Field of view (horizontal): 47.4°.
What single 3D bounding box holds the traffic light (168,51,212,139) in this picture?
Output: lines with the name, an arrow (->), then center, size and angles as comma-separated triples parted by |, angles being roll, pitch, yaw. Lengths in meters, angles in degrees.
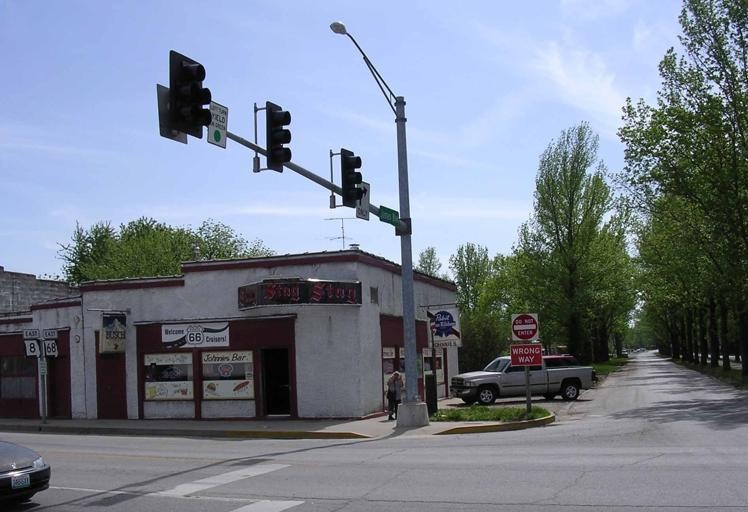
traffic light -> -5.464, -4.744, 25.189 | 1.152, 2.366, 0.705 | 1, -9, -14

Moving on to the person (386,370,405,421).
person -> 0.908, 5.970, 36.645 | 0.678, 2.057, 0.562 | 3, 15, 5

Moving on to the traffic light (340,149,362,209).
traffic light -> -0.783, -2.706, 29.815 | 0.633, 1.996, 0.908 | -10, -13, 44

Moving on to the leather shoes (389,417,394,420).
leather shoes -> 0.755, 6.920, 36.363 | 0.249, 0.163, 0.384 | -2, -11, 1

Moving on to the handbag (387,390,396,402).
handbag -> 0.741, 6.005, 36.427 | 0.361, 0.372, 0.386 | -1, -1, 5

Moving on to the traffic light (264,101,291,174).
traffic light -> -3.085, -3.738, 27.291 | 0.743, 2.280, 0.800 | 0, -9, -10

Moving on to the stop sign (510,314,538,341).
stop sign -> 5.943, 2.801, 33.665 | 0.968, 1.119, 0.901 | -3, -10, 8
